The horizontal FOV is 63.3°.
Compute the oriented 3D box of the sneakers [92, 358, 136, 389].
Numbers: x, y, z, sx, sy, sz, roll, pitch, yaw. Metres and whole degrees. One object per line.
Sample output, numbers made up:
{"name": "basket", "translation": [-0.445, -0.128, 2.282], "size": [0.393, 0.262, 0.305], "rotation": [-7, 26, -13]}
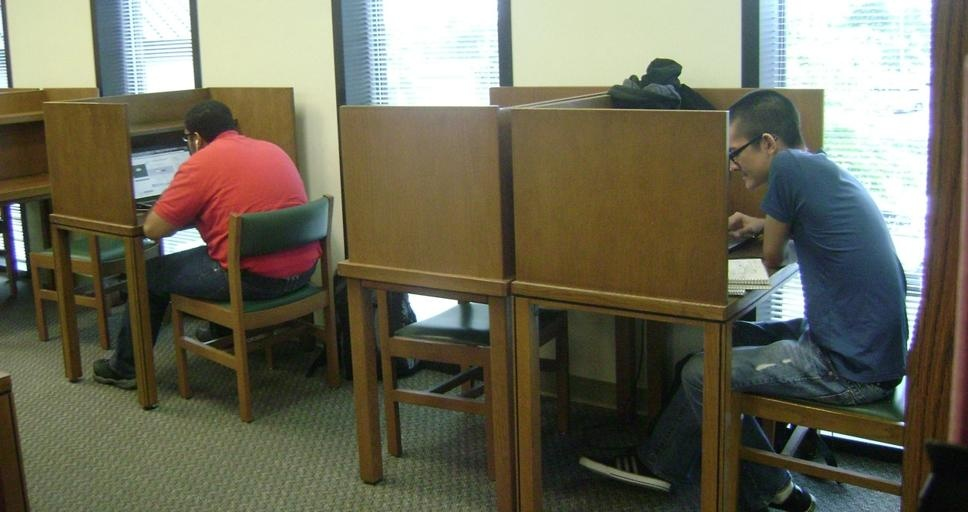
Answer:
{"name": "sneakers", "translation": [-2.351, 0.748, 5.022], "size": [0.317, 0.137, 0.109], "rotation": [17, 22, 2]}

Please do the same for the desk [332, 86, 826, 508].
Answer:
{"name": "desk", "translation": [0.576, 0.061, 4.644], "size": [2.158, 1.907, 2.177], "rotation": [5, 11, 32]}

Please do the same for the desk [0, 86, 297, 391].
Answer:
{"name": "desk", "translation": [-2.101, -0.127, 5.037], "size": [1.225, 2.092, 1.806], "rotation": [12, 16, 33]}

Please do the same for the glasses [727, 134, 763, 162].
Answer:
{"name": "glasses", "translation": [1.277, -0.525, 3.806], "size": [0.143, 0.041, 0.138], "rotation": [-41, 1, -1]}

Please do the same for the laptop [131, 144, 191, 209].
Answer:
{"name": "laptop", "translation": [-2.256, -0.553, 5.402], "size": [0.180, 0.356, 0.593], "rotation": [3, 6, 38]}

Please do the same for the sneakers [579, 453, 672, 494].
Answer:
{"name": "sneakers", "translation": [0.753, 1.127, 4.219], "size": [0.533, 0.159, 0.179], "rotation": [16, -12, 17]}

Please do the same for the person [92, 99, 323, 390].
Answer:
{"name": "person", "translation": [-1.712, -0.036, 5.140], "size": [1.387, 1.761, 1.080], "rotation": [9, 12, 39]}
